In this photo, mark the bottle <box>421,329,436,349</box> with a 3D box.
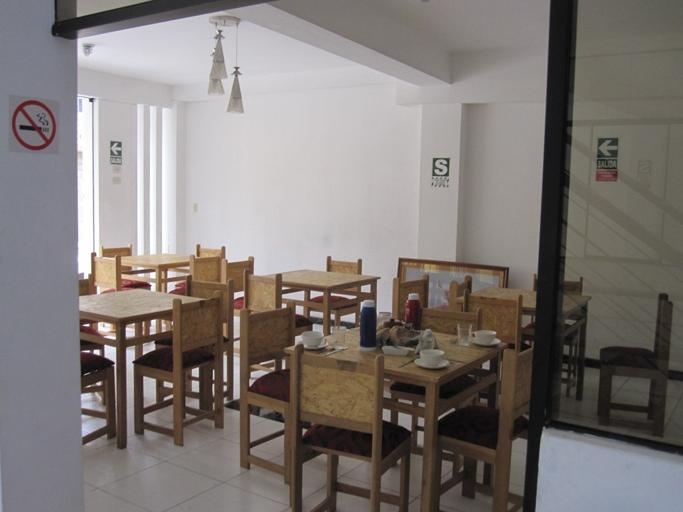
[{"bbox_3d":[0.461,0.434,3.043,0.073,0.146,0.089,-2,0,11],"label":"bottle"}]

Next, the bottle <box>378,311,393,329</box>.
[{"bbox_3d":[0.249,0.352,3.282,0.078,0.142,0.086,0,5,6],"label":"bottle"}]

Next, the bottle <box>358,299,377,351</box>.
[{"bbox_3d":[0.147,0.353,3.114,0.094,0.261,0.173,1,7,3],"label":"bottle"}]

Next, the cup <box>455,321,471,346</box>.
[{"bbox_3d":[0.708,0.446,3.296,0.077,0.110,0.122,0,0,-3],"label":"cup"}]

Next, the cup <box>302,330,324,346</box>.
[{"bbox_3d":[-0.159,0.439,3.088,0.083,0.054,0.087,-2,8,0],"label":"cup"}]

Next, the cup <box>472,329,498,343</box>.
[{"bbox_3d":[0.801,0.440,3.193,0.094,0.047,0.073,3,7,41],"label":"cup"}]
